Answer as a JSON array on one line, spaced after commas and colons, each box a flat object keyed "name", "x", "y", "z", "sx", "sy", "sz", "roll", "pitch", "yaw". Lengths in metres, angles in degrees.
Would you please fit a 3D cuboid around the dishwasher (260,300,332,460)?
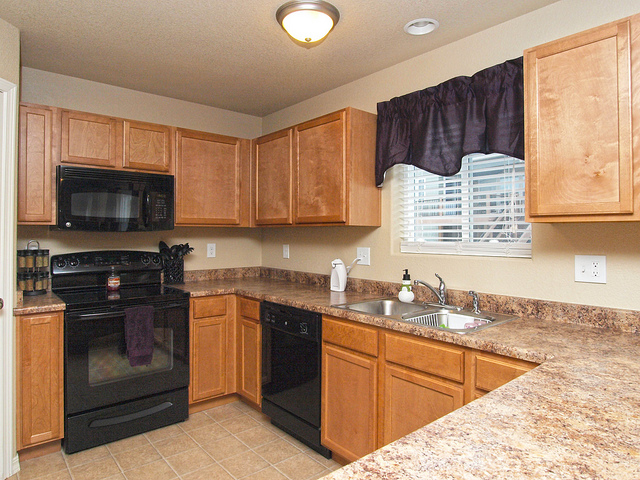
[{"name": "dishwasher", "x": -0.050, "y": 0.946, "z": 3.282, "sx": 0.505, "sy": 0.911, "sz": 0.577, "roll": 0, "pitch": 5, "yaw": -33}]

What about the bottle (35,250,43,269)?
[{"name": "bottle", "x": -1.983, "y": 0.137, "z": 3.239, "sx": 0.057, "sy": 0.121, "sz": 0.015, "roll": -11, "pitch": 14, "yaw": -32}]

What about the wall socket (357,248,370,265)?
[{"name": "wall socket", "x": 0.340, "y": 0.131, "z": 3.569, "sx": 0.018, "sy": 0.157, "sz": 0.141, "roll": 0, "pitch": 0, "yaw": -40}]

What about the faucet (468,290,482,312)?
[{"name": "faucet", "x": 0.967, "y": 0.378, "z": 2.877, "sx": 0.080, "sy": 0.119, "sz": 0.171, "roll": -1, "pitch": 11, "yaw": 9}]

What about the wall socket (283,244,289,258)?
[{"name": "wall socket", "x": -0.319, "y": 0.106, "z": 4.333, "sx": 0.030, "sy": 0.130, "sz": 0.105, "roll": -11, "pitch": 14, "yaw": -33}]

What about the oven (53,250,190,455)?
[{"name": "oven", "x": -1.521, "y": 0.749, "z": 3.709, "sx": 1.148, "sy": 1.268, "sz": 1.075, "roll": 0, "pitch": 1, "yaw": -38}]

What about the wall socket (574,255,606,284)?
[{"name": "wall socket", "x": 1.490, "y": 0.162, "z": 2.517, "sx": 0.014, "sy": 0.184, "sz": 0.164, "roll": 5, "pitch": -5, "yaw": -40}]

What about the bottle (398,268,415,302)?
[{"name": "bottle", "x": 0.591, "y": 0.308, "z": 3.123, "sx": 0.102, "sy": 0.205, "sz": 0.176, "roll": 2, "pitch": 13, "yaw": 23}]

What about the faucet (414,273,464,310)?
[{"name": "faucet", "x": 0.762, "y": 0.309, "z": 2.931, "sx": 0.218, "sy": 0.197, "sz": 0.300, "roll": 10, "pitch": -8, "yaw": -39}]

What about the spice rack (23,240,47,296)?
[{"name": "spice rack", "x": -2.069, "y": 0.201, "z": 3.312, "sx": 0.132, "sy": 0.359, "sz": 0.336, "roll": -9, "pitch": 13, "yaw": -26}]

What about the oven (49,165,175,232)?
[{"name": "oven", "x": -1.670, "y": -0.274, "z": 3.662, "sx": 0.795, "sy": 0.486, "sz": 0.746, "roll": 0, "pitch": 1, "yaw": -37}]

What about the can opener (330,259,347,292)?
[{"name": "can opener", "x": 0.153, "y": 0.272, "z": 3.584, "sx": 0.157, "sy": 0.238, "sz": 0.152, "roll": 0, "pitch": 3, "yaw": 9}]

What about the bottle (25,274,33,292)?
[{"name": "bottle", "x": -2.020, "y": 0.305, "z": 3.192, "sx": 0.016, "sy": 0.124, "sz": 0.047, "roll": 6, "pitch": 15, "yaw": 36}]
